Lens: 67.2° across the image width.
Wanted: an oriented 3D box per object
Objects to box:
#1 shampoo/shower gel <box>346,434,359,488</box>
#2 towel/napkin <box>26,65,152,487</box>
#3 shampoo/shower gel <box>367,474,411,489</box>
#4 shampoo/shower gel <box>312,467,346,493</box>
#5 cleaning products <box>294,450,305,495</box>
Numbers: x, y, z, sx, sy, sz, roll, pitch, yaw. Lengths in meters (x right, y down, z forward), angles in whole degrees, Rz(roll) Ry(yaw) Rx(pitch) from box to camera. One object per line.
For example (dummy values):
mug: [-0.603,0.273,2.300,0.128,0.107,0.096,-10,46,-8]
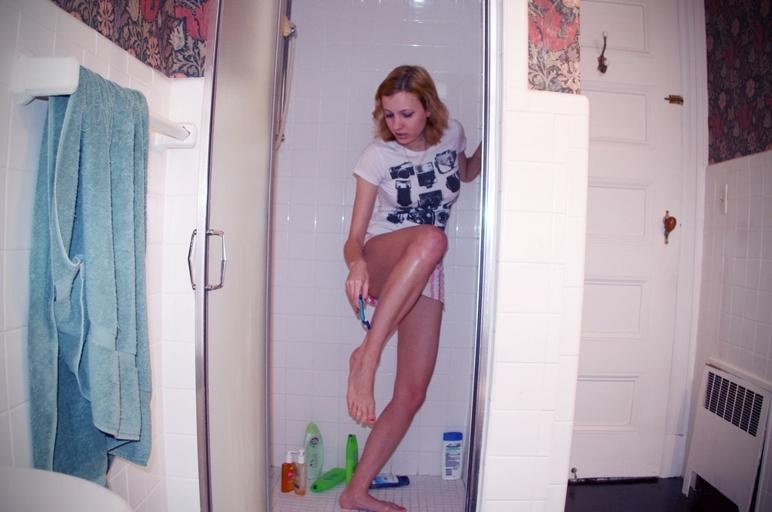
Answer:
shampoo/shower gel: [-0.179,1.050,3.031,0.048,0.219,0.085,-1,-2,31]
towel/napkin: [-1.112,0.095,2.187,0.409,1.568,0.190,1,2,-33]
shampoo/shower gel: [0.025,1.168,3.011,0.202,0.036,0.110,1,0,-3]
shampoo/shower gel: [-0.301,1.157,2.988,0.075,0.048,0.192,14,10,25]
cleaning products: [-0.447,1.099,3.004,0.053,0.214,0.154,1,2,-10]
